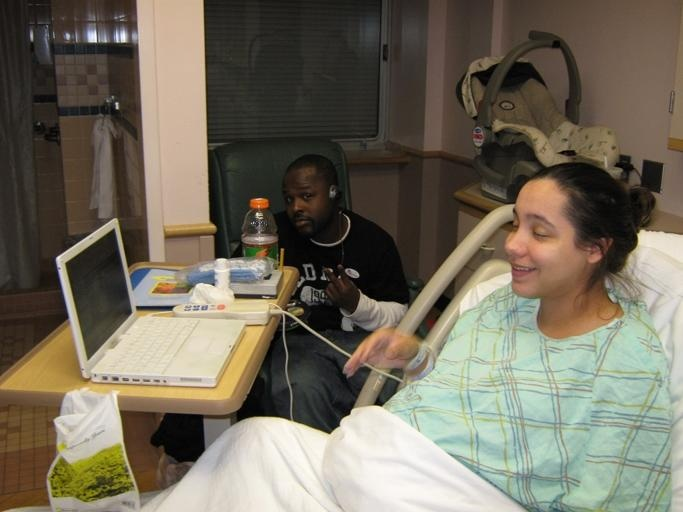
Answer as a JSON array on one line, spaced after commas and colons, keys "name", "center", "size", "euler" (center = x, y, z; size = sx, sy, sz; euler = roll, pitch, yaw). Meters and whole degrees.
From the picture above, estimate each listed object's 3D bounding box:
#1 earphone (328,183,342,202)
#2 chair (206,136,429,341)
[{"name": "earphone", "center": [-0.029, -0.276, 2.210], "size": [0.046, 0.058, 0.062], "euler": [0, -7, -14]}, {"name": "chair", "center": [-0.200, -0.170, 2.611], "size": [0.821, 0.873, 0.796], "euler": [-1, 21, -30]}]
